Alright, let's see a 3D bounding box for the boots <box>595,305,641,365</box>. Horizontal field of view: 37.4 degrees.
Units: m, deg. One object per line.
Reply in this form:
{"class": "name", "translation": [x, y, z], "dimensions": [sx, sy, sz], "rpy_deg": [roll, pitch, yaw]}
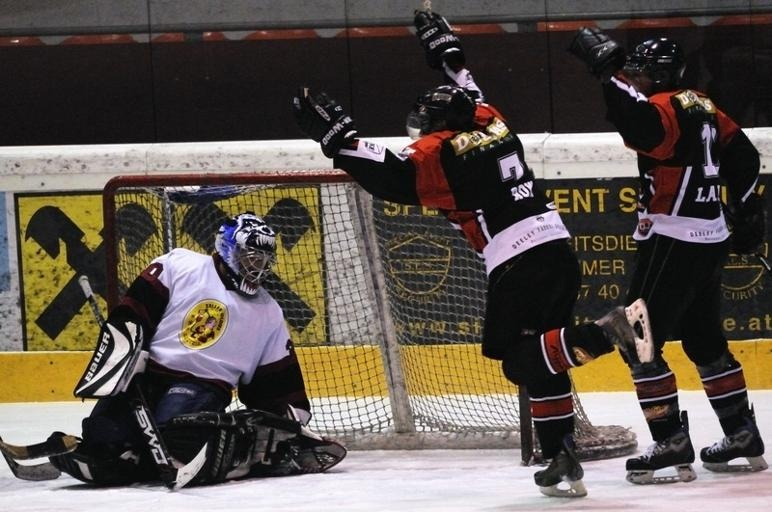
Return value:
{"class": "boots", "translation": [1.295, 0.440, 6.334], "dimensions": [0.137, 0.259, 0.284], "rpy_deg": [-16, 16, -5]}

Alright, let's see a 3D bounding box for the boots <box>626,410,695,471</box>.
{"class": "boots", "translation": [1.582, 1.086, 6.722], "dimensions": [0.516, 0.296, 0.150], "rpy_deg": [-5, 6, -26]}

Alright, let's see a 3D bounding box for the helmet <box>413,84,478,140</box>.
{"class": "helmet", "translation": [0.356, -0.823, 6.628], "dimensions": [0.430, 0.322, 0.329], "rpy_deg": [7, 12, 26]}

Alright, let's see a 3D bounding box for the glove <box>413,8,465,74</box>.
{"class": "glove", "translation": [0.311, -1.318, 7.102], "dimensions": [0.272, 0.419, 0.178], "rpy_deg": [-22, -15, -27]}

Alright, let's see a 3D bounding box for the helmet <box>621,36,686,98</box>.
{"class": "helmet", "translation": [1.578, -1.127, 6.935], "dimensions": [0.425, 0.325, 0.360], "rpy_deg": [-9, 13, -38]}

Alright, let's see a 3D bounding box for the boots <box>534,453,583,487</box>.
{"class": "boots", "translation": [0.938, 1.195, 6.482], "dimensions": [0.335, 0.218, 0.129], "rpy_deg": [-3, -6, -19]}
